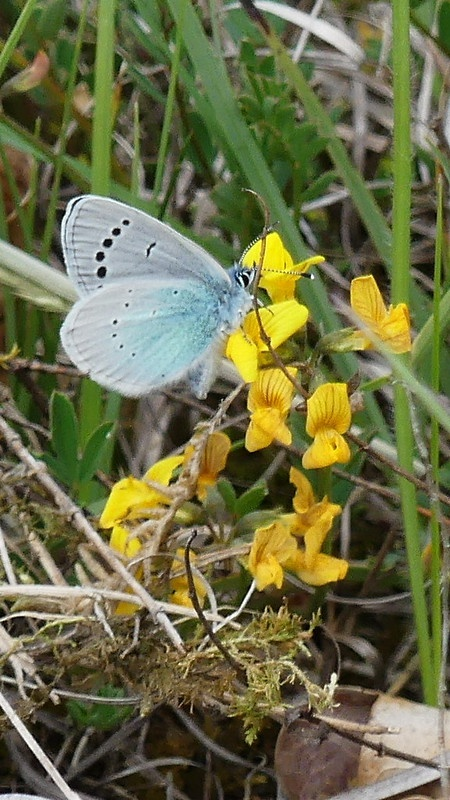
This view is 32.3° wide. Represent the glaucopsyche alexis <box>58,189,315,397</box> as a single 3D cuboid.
[{"bbox_3d":[-0.104,-0.180,1.514,0.399,0.302,0.438,-33,23,-20],"label":"glaucopsyche alexis"}]

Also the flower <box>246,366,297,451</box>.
[{"bbox_3d":[0.088,0.012,1.195,0.049,0.115,0.097,-7,16,-32],"label":"flower"}]

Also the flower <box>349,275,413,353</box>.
[{"bbox_3d":[0.241,-0.135,1.190,0.097,0.125,0.071,0,47,-8],"label":"flower"}]

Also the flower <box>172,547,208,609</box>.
[{"bbox_3d":[-0.040,0.257,1.171,0.031,0.087,0.077,-22,28,-28],"label":"flower"}]

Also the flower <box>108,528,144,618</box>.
[{"bbox_3d":[-0.151,0.258,1.173,0.074,0.115,0.031,7,22,1],"label":"flower"}]

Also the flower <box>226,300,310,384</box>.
[{"bbox_3d":[0.066,-0.101,1.197,0.053,0.134,0.134,28,22,13],"label":"flower"}]

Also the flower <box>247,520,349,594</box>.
[{"bbox_3d":[0.106,0.233,1.192,0.136,0.067,0.192,-11,7,-23],"label":"flower"}]

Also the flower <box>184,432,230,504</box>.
[{"bbox_3d":[-0.025,0.099,1.217,0.073,0.112,0.032,2,40,-15],"label":"flower"}]

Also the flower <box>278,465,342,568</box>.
[{"bbox_3d":[0.149,0.180,1.292,0.076,0.052,0.120,-30,52,-21],"label":"flower"}]
